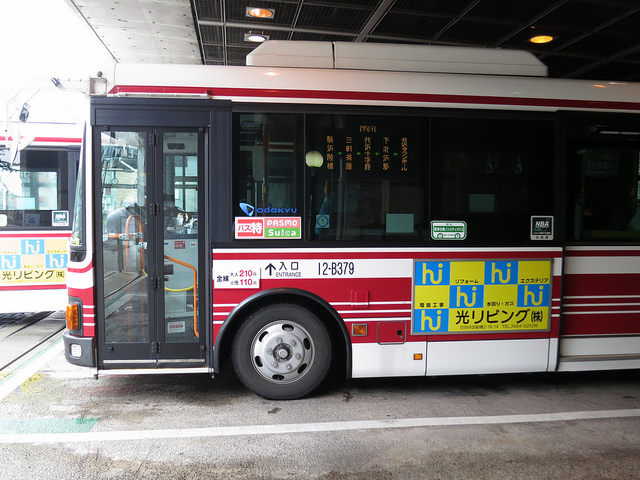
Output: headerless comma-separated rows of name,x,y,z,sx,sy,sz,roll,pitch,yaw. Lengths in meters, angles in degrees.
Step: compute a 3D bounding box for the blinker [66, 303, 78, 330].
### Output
blinker,-2.903,0.889,6.412,0.153,0.302,0.080,7,12,30
